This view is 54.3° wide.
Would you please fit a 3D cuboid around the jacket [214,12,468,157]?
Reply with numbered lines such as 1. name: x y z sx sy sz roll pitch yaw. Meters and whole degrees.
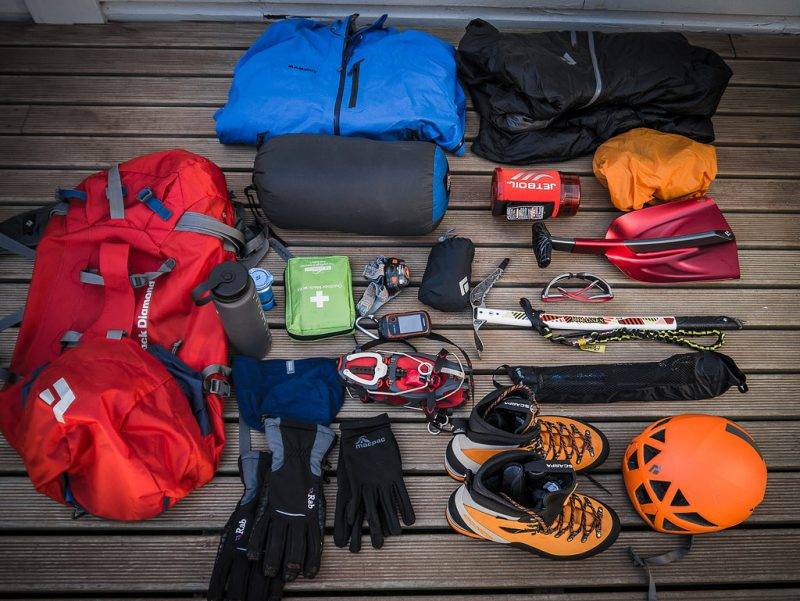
1. jacket: -0.251 -1.098 3.978 1.224 0.659 1.112 1 36 1

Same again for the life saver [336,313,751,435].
1. life saver: 0.588 0.334 3.453 1.914 0.267 0.521 0 55 -3
